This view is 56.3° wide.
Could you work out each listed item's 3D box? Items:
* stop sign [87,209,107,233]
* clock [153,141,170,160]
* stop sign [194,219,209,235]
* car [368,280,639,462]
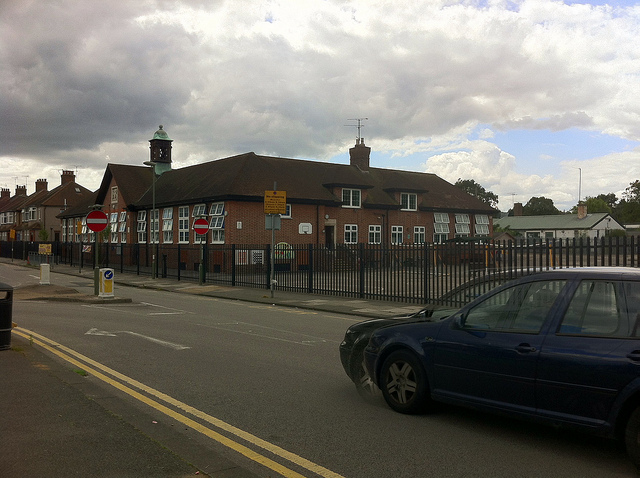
[{"bbox_3d":[-8.114,-0.651,21.713,0.624,0.731,0.942,-1,0,-21],"label":"stop sign"},{"bbox_3d":[-15.712,-8.751,59.694,1.606,2.133,1.636,0,1,21],"label":"clock"},{"bbox_3d":[-5.983,-0.606,29.981,0.617,0.693,0.569,-1,0,-13],"label":"stop sign"},{"bbox_3d":[2.267,1.498,7.328,2.981,1.182,1.426,-8,-11,44],"label":"car"}]
